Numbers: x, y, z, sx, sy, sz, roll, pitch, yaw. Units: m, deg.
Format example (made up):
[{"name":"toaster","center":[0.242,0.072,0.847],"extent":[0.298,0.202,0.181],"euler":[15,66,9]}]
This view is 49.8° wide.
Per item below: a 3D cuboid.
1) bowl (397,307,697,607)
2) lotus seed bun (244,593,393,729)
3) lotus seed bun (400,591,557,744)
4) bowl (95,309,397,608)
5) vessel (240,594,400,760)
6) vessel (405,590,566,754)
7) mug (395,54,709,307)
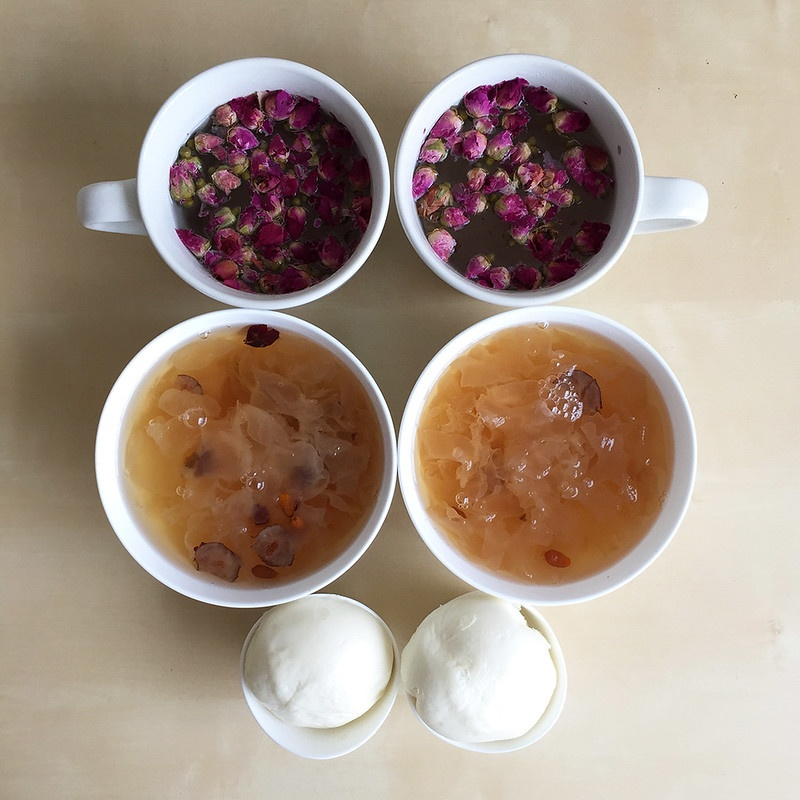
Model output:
[{"name":"bowl","center":[0.195,0.055,0.987],"extent":[0.363,0.159,0.342],"euler":[0,97,3]},{"name":"lotus seed bun","center":[-0.097,0.315,1.043],"extent":[0.196,0.105,0.165],"euler":[-5,57,0]},{"name":"lotus seed bun","center":[0.093,0.304,1.045],"extent":[0.179,0.104,0.168],"euler":[6,82,-5]},{"name":"bowl","center":[-0.228,0.062,1.062],"extent":[0.362,0.161,0.340],"euler":[0,94,-5]},{"name":"vessel","center":[-0.095,0.319,1.007],"extent":[0.201,0.117,0.198],"euler":[-3,100,-7]},{"name":"vessel","center":[0.104,0.321,1.052],"extent":[0.216,0.120,0.189],"euler":[14,51,8]},{"name":"mug","center":[0.136,-0.226,0.964],"extent":[0.273,0.112,0.298],"euler":[-43,83,-9]}]
